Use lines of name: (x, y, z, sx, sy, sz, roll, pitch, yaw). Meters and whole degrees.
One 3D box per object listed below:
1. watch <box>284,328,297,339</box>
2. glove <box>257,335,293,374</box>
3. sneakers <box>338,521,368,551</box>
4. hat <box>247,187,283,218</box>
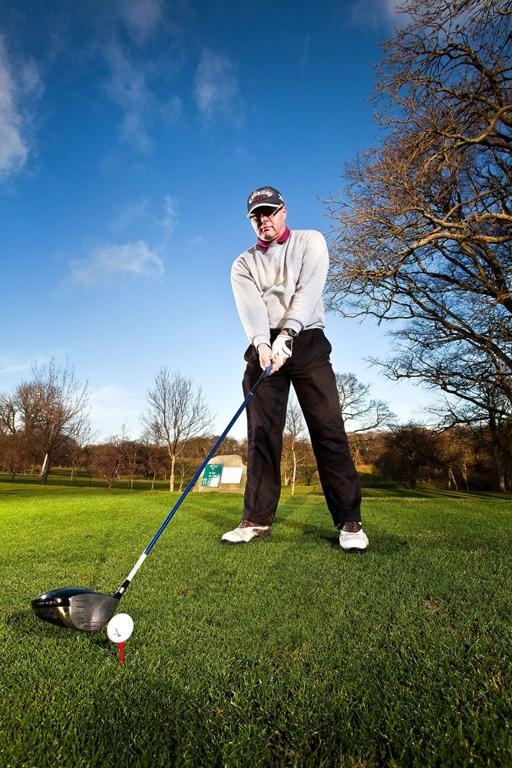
watch: (0.236, -0.343, 3.158, 0.084, 0.081, 0.056, 38, -61, -9)
glove: (0.121, -0.200, 3.158, 0.116, 0.270, 0.228, 34, 7, -46)
sneakers: (0.613, 0.987, 2.936, 0.161, 0.148, 0.227, -3, -9, 8)
hat: (0.051, -1.362, 3.427, 0.255, 0.119, 0.231, -4, -10, 10)
